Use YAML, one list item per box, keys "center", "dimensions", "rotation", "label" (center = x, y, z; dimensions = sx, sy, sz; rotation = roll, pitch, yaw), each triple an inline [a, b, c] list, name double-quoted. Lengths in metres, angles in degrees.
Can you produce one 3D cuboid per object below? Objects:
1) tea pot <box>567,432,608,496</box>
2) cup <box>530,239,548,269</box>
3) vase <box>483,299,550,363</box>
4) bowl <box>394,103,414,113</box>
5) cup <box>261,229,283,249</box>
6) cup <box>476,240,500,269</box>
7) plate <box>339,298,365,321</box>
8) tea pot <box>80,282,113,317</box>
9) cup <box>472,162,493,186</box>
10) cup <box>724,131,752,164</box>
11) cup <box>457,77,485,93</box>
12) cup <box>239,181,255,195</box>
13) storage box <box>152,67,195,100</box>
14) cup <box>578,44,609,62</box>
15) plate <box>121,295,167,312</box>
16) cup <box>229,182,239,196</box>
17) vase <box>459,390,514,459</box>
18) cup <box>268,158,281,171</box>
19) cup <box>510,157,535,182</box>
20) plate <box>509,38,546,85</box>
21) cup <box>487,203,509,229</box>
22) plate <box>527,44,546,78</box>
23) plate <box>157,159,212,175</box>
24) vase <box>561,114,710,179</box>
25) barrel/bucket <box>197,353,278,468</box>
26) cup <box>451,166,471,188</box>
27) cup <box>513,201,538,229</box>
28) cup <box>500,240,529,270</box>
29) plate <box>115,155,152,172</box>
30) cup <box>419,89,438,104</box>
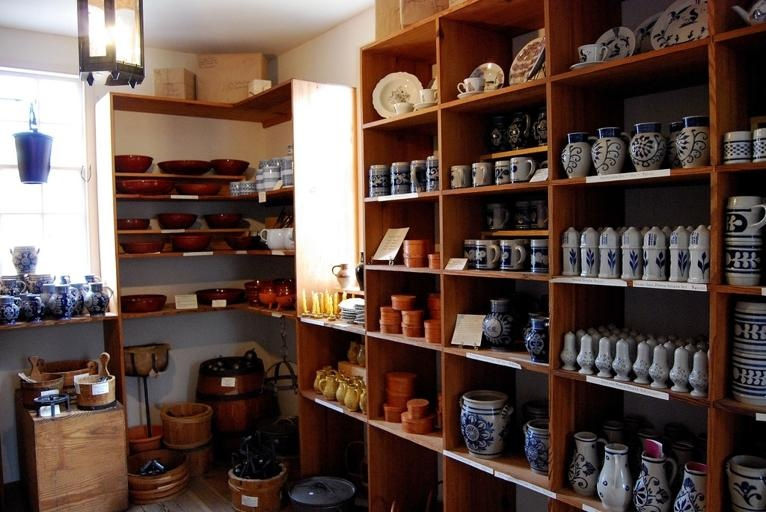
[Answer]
- center: [0.982, 1.011, 2.782]
  dimensions: [0.272, 0.275, 0.184]
  rotation: [8, -8, -32]
  label: "tea pot"
- center: [0.789, -0.007, 2.906]
  dimensions: [0.102, 0.166, 0.053]
  rotation: [-2, 5, 31]
  label: "cup"
- center: [0.695, 0.381, 2.988]
  dimensions: [0.363, 0.213, 0.200]
  rotation: [6, 5, 26]
  label: "vase"
- center: [0.122, -0.886, 3.428]
  dimensions: [0.078, 0.049, 0.078]
  rotation: [1, 2, 0]
  label: "bowl"
- center: [-0.836, -0.137, 4.394]
  dimensions: [0.079, 0.160, 0.325]
  rotation: [-6, 5, -33]
  label: "cup"
- center: [0.560, -0.009, 3.057]
  dimensions: [0.099, 0.143, 0.156]
  rotation: [-1, 5, -24]
  label: "cup"
- center: [-0.192, 0.336, 3.864]
  dimensions: [0.164, 0.080, 0.164]
  rotation: [4, 4, 27]
  label: "plate"
- center: [-2.147, 0.321, 4.342]
  dimensions: [0.218, 0.279, 0.245]
  rotation: [-1, 8, -25]
  label: "tea pot"
- center: [0.531, -0.443, 3.057]
  dimensions: [0.098, 0.115, 0.129]
  rotation: [1, 4, 14]
  label: "cup"
- center: [1.455, -0.452, 2.370]
  dimensions: [0.119, 0.133, 0.125]
  rotation: [1, 6, 0]
  label: "cup"
- center: [0.481, -0.913, 3.108]
  dimensions: [0.130, 0.094, 0.102]
  rotation: [-1, 6, -1]
  label: "cup"
- center: [-1.074, -0.553, 4.621]
  dimensions: [0.114, 0.084, 0.114]
  rotation: [1, 8, 0]
  label: "cup"
- center: [-1.665, -1.387, 4.735]
  dimensions: [0.301, 0.291, 0.289]
  rotation: [4, 7, 20]
  label: "storage box"
- center: [0.982, -0.951, 2.688]
  dimensions: [0.116, 0.083, 0.091]
  rotation: [5, 8, 35]
  label: "cup"
- center: [-1.894, 0.377, 4.565]
  dimensions: [0.195, 0.070, 0.190]
  rotation: [-1, 0, 3]
  label: "plate"
- center: [-1.208, -0.560, 4.702]
  dimensions: [0.101, 0.108, 0.102]
  rotation: [1, 4, 0]
  label: "cup"
- center: [0.549, 0.882, 3.201]
  dimensions: [0.280, 0.305, 0.362]
  rotation: [1, -1, -32]
  label: "vase"
- center: [-0.813, -0.698, 4.364]
  dimensions: [0.084, 0.079, 0.085]
  rotation: [1, 5, 0]
  label: "cup"
- center: [0.714, -0.446, 2.937]
  dimensions: [0.089, 0.123, 0.139]
  rotation: [-1, 5, -39]
  label: "cup"
- center: [0.753, -1.023, 2.987]
  dimensions: [0.075, 0.255, 0.254]
  rotation: [11, 2, -23]
  label: "plate"
- center: [0.642, -0.222, 3.205]
  dimensions: [0.096, 0.153, 0.153]
  rotation: [-2, 7, -18]
  label: "cup"
- center: [0.768, -0.977, 2.887]
  dimensions: [0.082, 0.149, 0.215]
  rotation: [-3, 4, 12]
  label: "plate"
- center: [-1.645, -0.736, 4.780]
  dimensions: [0.430, 0.138, 0.238]
  rotation: [-5, 4, -8]
  label: "plate"
- center: [1.147, -0.491, 2.658]
  dimensions: [0.627, 0.224, 0.216]
  rotation: [-1, 5, 31]
  label: "vase"
- center: [-1.146, 1.222, 4.960]
  dimensions: [0.803, 1.034, 0.765]
  rotation: [1, -1, 0]
  label: "barrel/bucket"
- center: [0.426, -0.434, 3.131]
  dimensions: [0.086, 0.111, 0.130]
  rotation: [4, 7, 28]
  label: "cup"
- center: [0.768, -0.223, 3.097]
  dimensions: [0.131, 0.149, 0.132]
  rotation: [1, 4, 0]
  label: "cup"
- center: [0.678, -0.006, 2.977]
  dimensions: [0.106, 0.169, 0.169]
  rotation: [-2, 6, -24]
  label: "cup"
- center: [-1.960, -0.738, 4.536]
  dimensions: [0.177, 0.065, 0.178]
  rotation: [-1, 2, -8]
  label: "plate"
- center: [0.263, -0.923, 3.292]
  dimensions: [0.076, 0.066, 0.094]
  rotation: [-11, 24, -31]
  label: "cup"
